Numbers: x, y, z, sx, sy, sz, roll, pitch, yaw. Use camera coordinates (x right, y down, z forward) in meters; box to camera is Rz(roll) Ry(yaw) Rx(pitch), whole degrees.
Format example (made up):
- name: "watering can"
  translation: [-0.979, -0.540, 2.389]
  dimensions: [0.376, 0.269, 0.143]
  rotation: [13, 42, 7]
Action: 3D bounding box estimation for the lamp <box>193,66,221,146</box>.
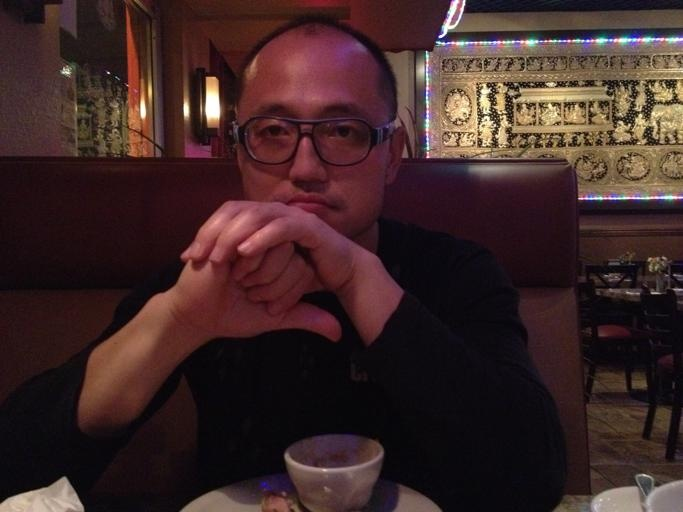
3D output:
- name: "lamp"
  translation: [-1.084, -1.273, 4.802]
  dimensions: [0.130, 0.467, 0.282]
  rotation: [1, 14, -6]
